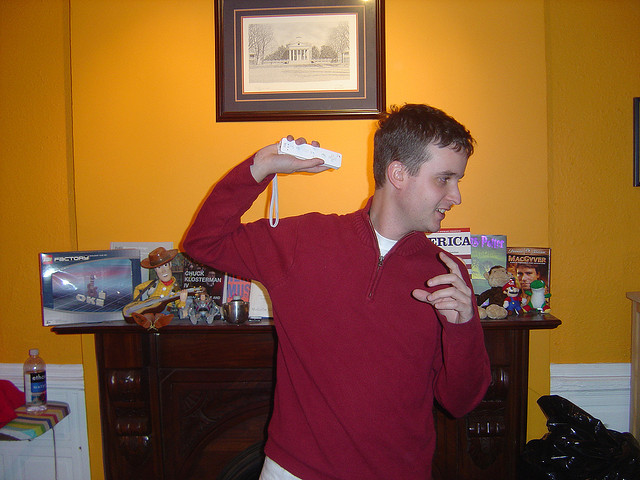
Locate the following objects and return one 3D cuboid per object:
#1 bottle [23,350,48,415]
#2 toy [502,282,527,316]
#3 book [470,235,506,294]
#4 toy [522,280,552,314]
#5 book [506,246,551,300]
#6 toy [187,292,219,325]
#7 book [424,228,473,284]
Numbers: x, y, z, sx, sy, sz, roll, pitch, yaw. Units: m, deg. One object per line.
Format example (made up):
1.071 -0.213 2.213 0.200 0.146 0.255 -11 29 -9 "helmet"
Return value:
-1.477 0.745 3.145 0.144 0.350 0.127 -1 0 -4 "bottle"
0.969 0.280 3.002 0.105 0.193 0.079 -3 16 20 "toy"
0.848 0.134 3.031 0.252 0.371 0.039 -1 -5 3 "book"
1.073 0.283 3.002 0.141 0.169 0.082 1 -5 8 "toy"
1.047 0.172 3.026 0.225 0.327 0.031 1 -5 6 "book"
-0.590 0.342 2.985 0.122 0.146 0.054 -1 -6 -7 "toy"
0.560 0.074 2.639 0.245 0.318 0.032 0 -8 2 "book"
